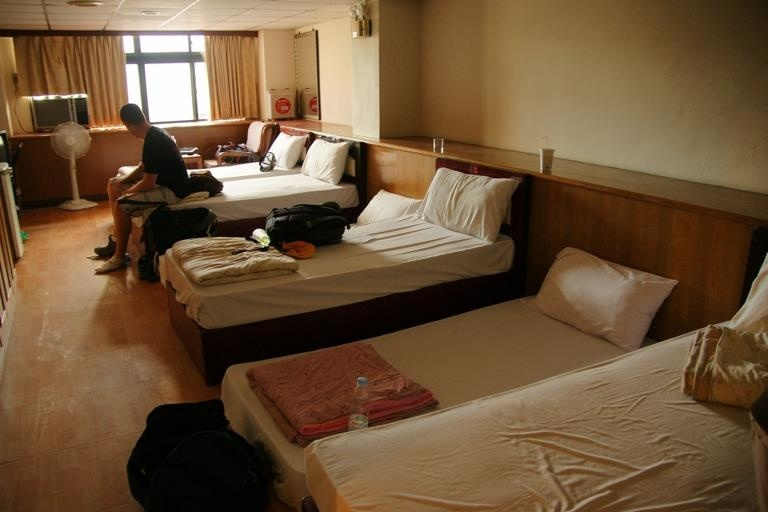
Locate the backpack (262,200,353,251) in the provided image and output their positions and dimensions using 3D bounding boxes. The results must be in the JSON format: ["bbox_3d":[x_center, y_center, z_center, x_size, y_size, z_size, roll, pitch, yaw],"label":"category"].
[{"bbox_3d":[-0.636,-0.261,4.434,0.542,0.212,0.383,-7,19,-22],"label":"backpack"}]

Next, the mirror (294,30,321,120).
[{"bbox_3d":[-1.197,-2.853,8.586,0.055,1.426,1.283,-11,22,-30],"label":"mirror"}]

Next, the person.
[{"bbox_3d":[-2.608,-0.686,5.607,1.036,1.657,0.842,10,24,28],"label":"person"}]

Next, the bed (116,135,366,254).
[{"bbox_3d":[-1.219,-0.691,6.053,1.798,0.369,1.890,-13,22,-26],"label":"bed"}]

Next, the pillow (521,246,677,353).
[{"bbox_3d":[1.491,0.295,3.709,0.294,0.576,0.978,36,-8,-36],"label":"pillow"}]

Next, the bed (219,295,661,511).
[{"bbox_3d":[0.322,0.670,3.433,2.227,0.376,1.190,-12,21,-25],"label":"bed"}]

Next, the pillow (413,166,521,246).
[{"bbox_3d":[0.727,-0.400,4.583,0.294,0.262,0.690,-30,25,-22],"label":"pillow"}]

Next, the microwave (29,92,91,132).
[{"bbox_3d":[-4.743,-2.071,8.057,1.014,0.637,0.567,-8,13,-36],"label":"microwave"}]
